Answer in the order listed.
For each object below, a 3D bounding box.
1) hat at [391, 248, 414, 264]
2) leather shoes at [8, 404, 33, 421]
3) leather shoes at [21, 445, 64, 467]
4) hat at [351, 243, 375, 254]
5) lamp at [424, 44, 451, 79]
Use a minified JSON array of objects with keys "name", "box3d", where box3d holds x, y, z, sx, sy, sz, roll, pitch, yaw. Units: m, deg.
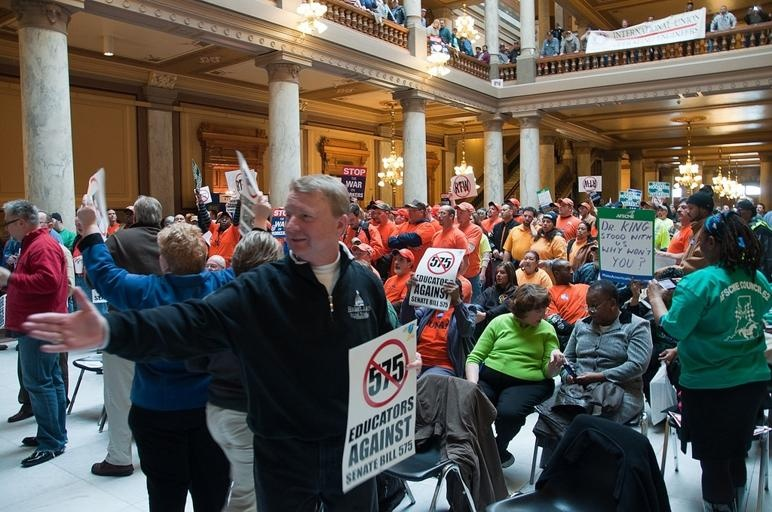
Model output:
[{"name":"hat","box3d":[0.248,-0.023,6.846,0.225,0.128,0.153,33,-12,-29]},{"name":"leather shoes","box3d":[-4.233,1.843,6.592,0.397,0.171,0.130,0,-1,-16]},{"name":"leather shoes","box3d":[-3.516,2.035,5.730,0.123,0.149,0.371,2,0,37]},{"name":"hat","box3d":[-0.259,-0.106,7.155,0.137,0.109,0.210,3,-16,35]},{"name":"lamp","box3d":[1.393,-5.174,14.940,0.700,0.739,0.675,-3,-1,-39]}]
